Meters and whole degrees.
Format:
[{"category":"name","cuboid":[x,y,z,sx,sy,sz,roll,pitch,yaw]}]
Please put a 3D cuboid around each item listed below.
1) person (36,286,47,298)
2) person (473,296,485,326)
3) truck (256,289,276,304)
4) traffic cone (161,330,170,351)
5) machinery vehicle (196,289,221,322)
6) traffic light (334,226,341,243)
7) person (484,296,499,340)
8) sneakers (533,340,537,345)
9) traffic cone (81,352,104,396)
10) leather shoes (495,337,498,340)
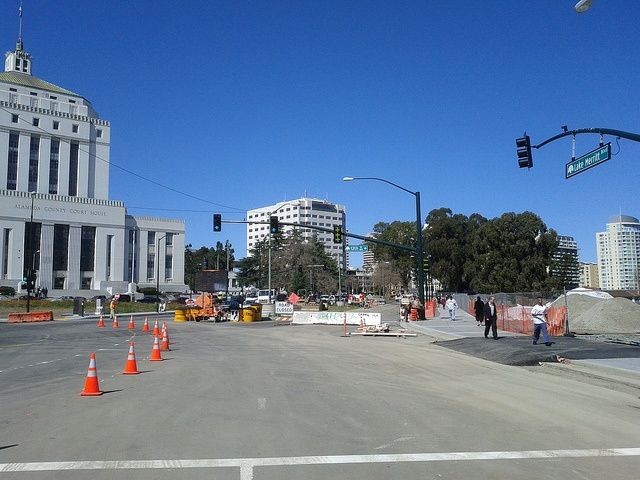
[{"category":"person","cuboid":[-37.062,6.909,75.856,1.340,0.850,1.957,5,-18,-13]},{"category":"person","cuboid":[9.755,4.288,34.749,0.425,1.764,2.032,-2,-7,12]},{"category":"truck","cuboid":[-7.628,7.953,80.501,2.410,2.743,4.847,-1,-16,1]},{"category":"traffic cone","cuboid":[-5.805,3.746,21.439,0.297,0.761,0.963,1,-8,-16]},{"category":"machinery vehicle","cuboid":[-8.722,5.381,45.822,1.284,1.792,2.659,0,-2,6]},{"category":"traffic light","cuboid":[1.109,-0.382,34.919,0.534,1.050,1.240,-1,-7,1]},{"category":"person","cuboid":[7.443,3.371,24.797,0.525,1.805,1.465,-3,-7,17]},{"category":"sneakers","cuboid":[8.300,3.929,21.911,0.111,0.153,0.120,-1,-5,29]},{"category":"traffic cone","cuboid":[-5.276,3.072,13.180,0.478,0.924,1.035,2,-8,-23]},{"category":"leather shoes","cuboid":[7.521,4.150,24.180,0.135,0.112,0.081,1,-18,-10]}]
